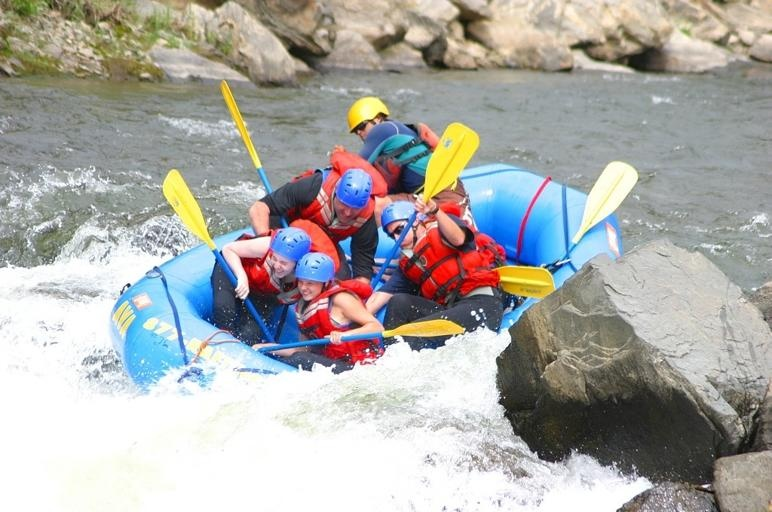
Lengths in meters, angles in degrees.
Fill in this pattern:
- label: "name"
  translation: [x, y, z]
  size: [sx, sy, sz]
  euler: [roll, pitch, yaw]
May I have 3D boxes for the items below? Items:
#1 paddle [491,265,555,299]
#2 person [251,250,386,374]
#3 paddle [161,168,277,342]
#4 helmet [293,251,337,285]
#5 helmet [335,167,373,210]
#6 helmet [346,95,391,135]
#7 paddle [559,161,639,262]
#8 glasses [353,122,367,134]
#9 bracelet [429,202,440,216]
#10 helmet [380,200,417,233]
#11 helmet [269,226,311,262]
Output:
- label: "paddle"
  translation: [1.482, 0.265, 10.954]
  size: [0.722, 0.305, 0.114]
  euler: [3, 27, 43]
- label: "person"
  translation: [-0.786, 0.647, 10.665]
  size: [1.251, 1.408, 1.204]
  euler: [0, 9, 28]
- label: "paddle"
  translation: [-1.859, 0.058, 11.198]
  size: [0.340, 0.111, 2.529]
  euler: [-36, 79, 3]
- label: "helmet"
  translation: [-0.705, 0.129, 10.509]
  size: [0.281, 0.361, 0.315]
  euler: [1, 75, 35]
- label: "helmet"
  translation: [-0.338, -0.719, 10.714]
  size: [0.316, 0.425, 0.324]
  euler: [18, 54, -9]
- label: "helmet"
  translation: [-0.245, -1.646, 12.153]
  size: [0.524, 0.310, 0.401]
  euler: [-36, 12, -9]
- label: "paddle"
  translation: [2.448, -0.659, 11.450]
  size: [0.461, 0.128, 1.691]
  euler: [34, 74, 20]
- label: "glasses"
  translation: [-0.320, -1.525, 12.091]
  size: [0.098, 0.137, 0.049]
  euler: [-13, 59, -18]
- label: "bracelet"
  translation: [0.495, -0.490, 10.687]
  size: [0.042, 0.121, 0.113]
  euler: [8, -14, -30]
- label: "helmet"
  translation: [0.120, -0.485, 11.156]
  size: [0.369, 0.299, 0.277]
  euler: [-37, 7, 4]
- label: "helmet"
  translation: [-0.969, -0.115, 10.569]
  size: [0.289, 0.389, 0.314]
  euler: [32, 91, 44]
